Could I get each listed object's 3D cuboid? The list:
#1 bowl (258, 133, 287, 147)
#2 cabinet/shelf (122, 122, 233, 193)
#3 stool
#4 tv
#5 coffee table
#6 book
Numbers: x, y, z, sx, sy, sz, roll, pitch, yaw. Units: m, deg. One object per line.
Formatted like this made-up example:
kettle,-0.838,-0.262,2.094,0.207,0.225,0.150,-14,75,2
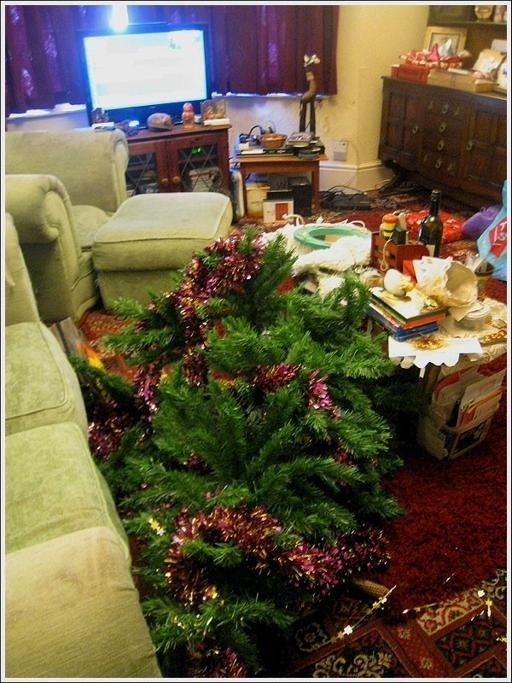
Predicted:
bowl,0.115,-1.354,3.373,0.167,0.086,0.096,-4,26,-1
cabinet/shelf,-0.560,-1.258,3.373,0.757,0.644,0.273,-8,43,-11
stool,-0.464,-0.460,2.463,0.626,0.453,0.585,-1,26,6
tv,-0.757,-1.783,3.299,1.166,0.777,0.114,-12,32,-23
coffee table,0.177,-1.185,3.565,0.578,0.397,0.445,-1,38,2
book,0.368,-0.072,1.232,0.171,0.054,0.164,-20,42,-28
